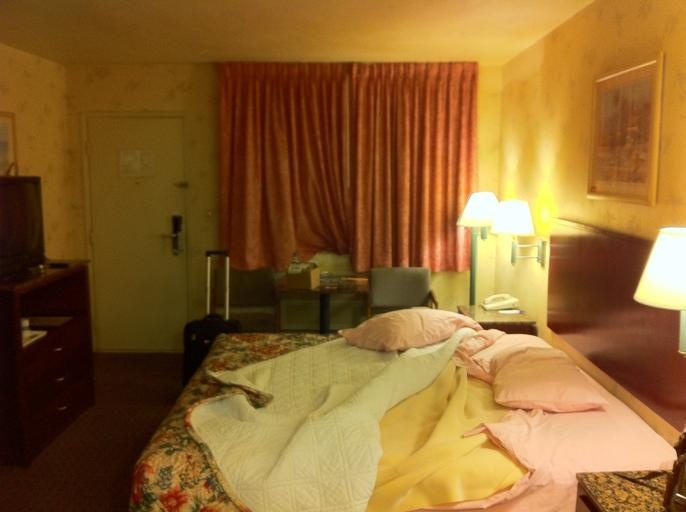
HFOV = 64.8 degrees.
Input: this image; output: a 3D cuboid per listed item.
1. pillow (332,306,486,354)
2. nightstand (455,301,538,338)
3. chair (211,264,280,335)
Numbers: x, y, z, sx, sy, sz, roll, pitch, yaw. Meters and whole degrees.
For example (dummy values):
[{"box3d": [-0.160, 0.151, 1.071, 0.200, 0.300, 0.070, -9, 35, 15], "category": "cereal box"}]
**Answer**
[{"box3d": [0.517, 0.515, 3.892, 0.528, 0.158, 0.469, -2, -17, -45], "category": "pillow"}, {"box3d": [1.282, 0.514, 4.425, 0.301, 0.315, 0.307, 0, 3, 0], "category": "nightstand"}, {"box3d": [-0.914, 0.444, 5.591, 0.656, 0.946, 0.672, 0, 2, -5], "category": "chair"}]
